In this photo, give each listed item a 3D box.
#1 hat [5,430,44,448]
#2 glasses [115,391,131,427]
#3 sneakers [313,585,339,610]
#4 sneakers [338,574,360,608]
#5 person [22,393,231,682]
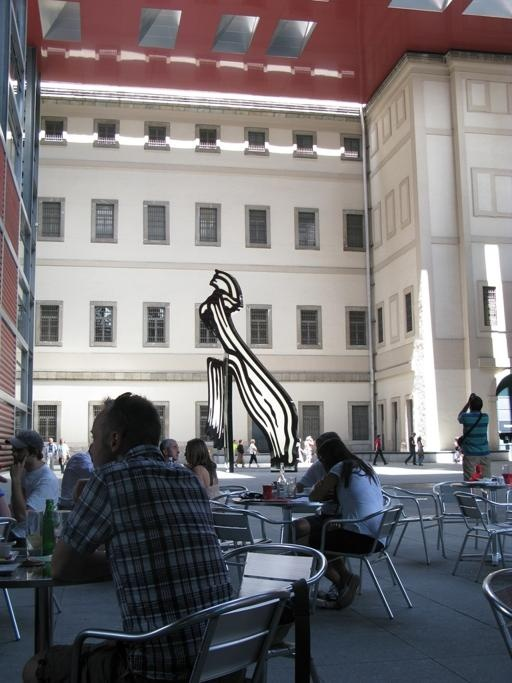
[{"bbox_3d":[-1.724,0.729,4.606,0.235,0.123,0.170,4,-7,-9],"label":"hat"},{"bbox_3d":[-0.431,0.226,1.977,0.058,0.084,0.063,0,-1,26],"label":"glasses"},{"bbox_3d":[0.558,1.994,4.837,0.188,0.281,0.124,-4,-32,14],"label":"sneakers"},{"bbox_3d":[0.709,1.900,4.722,0.120,0.315,0.109,16,-5,-3],"label":"sneakers"},{"bbox_3d":[-0.350,0.545,1.792,0.647,0.832,0.382,-9,-12,39],"label":"person"}]
